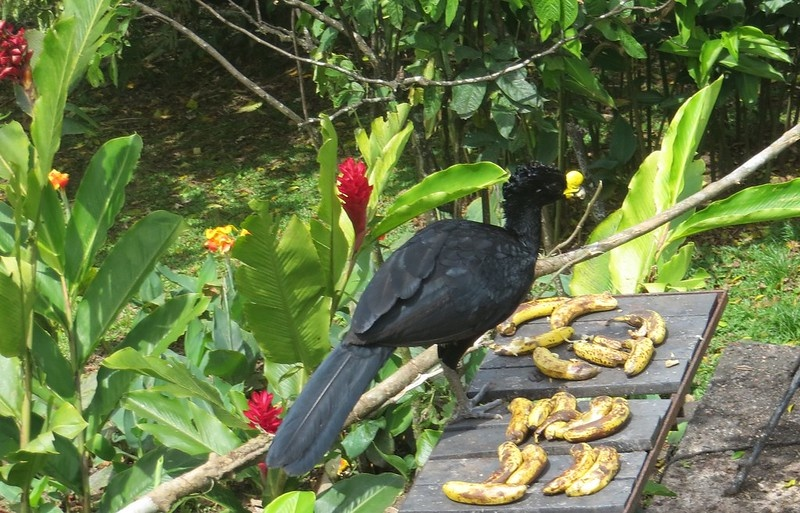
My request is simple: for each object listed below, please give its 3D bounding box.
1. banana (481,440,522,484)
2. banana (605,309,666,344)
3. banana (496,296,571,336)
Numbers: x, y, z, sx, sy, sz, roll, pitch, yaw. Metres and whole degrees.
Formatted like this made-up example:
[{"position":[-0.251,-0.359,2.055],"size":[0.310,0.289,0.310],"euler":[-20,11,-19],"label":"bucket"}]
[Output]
[{"position":[0.546,1.094,4.766],"size":[0.142,0.075,0.344],"euler":[7,23,16],"label":"banana"},{"position":[1.418,0.419,5.313],"size":[0.261,0.073,0.386],"euler":[-15,22,-8],"label":"banana"},{"position":[0.899,0.364,5.749],"size":[0.624,0.137,0.169],"euler":[-15,-18,-13],"label":"banana"}]
